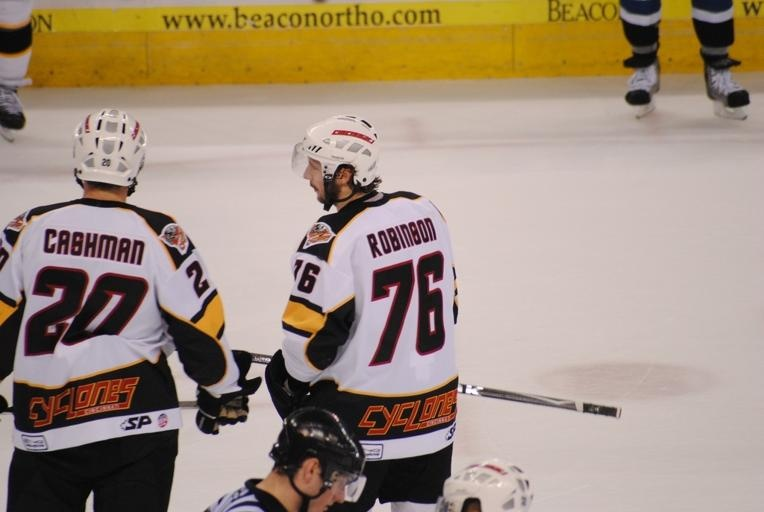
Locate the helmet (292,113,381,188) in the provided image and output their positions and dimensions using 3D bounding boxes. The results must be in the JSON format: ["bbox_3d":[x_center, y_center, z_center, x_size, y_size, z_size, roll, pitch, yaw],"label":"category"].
[{"bbox_3d":[-0.214,-0.566,5.707,0.409,0.328,0.319,10,16,21],"label":"helmet"}]

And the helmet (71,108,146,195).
[{"bbox_3d":[-1.385,-0.546,5.574,0.339,0.411,0.428,7,7,-7],"label":"helmet"}]

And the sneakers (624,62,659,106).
[{"bbox_3d":[1.949,-1.283,8.289,0.149,0.200,0.470,-10,29,31],"label":"sneakers"}]

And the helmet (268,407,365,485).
[{"bbox_3d":[-0.280,0.847,5.044,0.372,0.347,0.299,1,2,-7],"label":"helmet"}]
